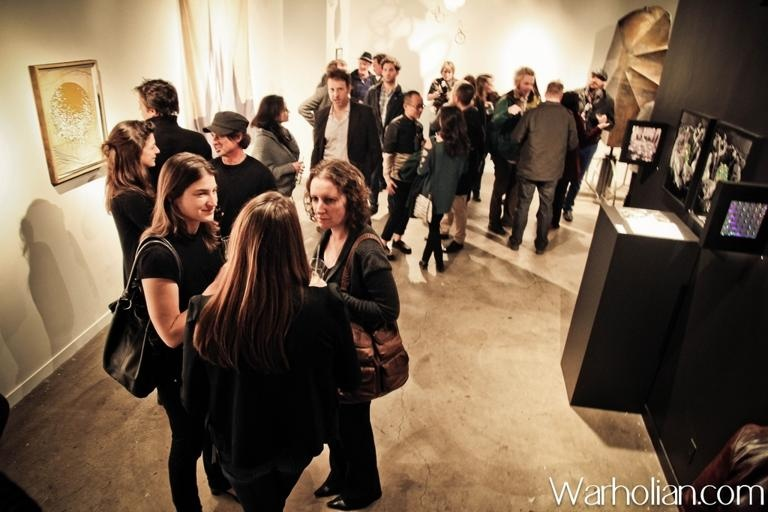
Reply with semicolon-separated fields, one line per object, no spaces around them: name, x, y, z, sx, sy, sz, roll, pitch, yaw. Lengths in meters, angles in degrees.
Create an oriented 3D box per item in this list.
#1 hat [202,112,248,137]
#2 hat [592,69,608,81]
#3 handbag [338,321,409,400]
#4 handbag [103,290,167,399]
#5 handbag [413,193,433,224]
hat;-1.304;-1.075;3.996;0.299;0.166;0.218;-6;19;-29
hat;3.119;-2.580;7.074;0.178;0.064;0.130;18;12;-7
handbag;-0.073;0.661;3.009;0.422;0.482;0.239;-14;27;-33
handbag;-1.531;0.510;2.950;0.376;0.624;0.213;15;25;29
handbag;0.403;-0.490;5.144;0.088;0.288;0.196;2;3;-41
